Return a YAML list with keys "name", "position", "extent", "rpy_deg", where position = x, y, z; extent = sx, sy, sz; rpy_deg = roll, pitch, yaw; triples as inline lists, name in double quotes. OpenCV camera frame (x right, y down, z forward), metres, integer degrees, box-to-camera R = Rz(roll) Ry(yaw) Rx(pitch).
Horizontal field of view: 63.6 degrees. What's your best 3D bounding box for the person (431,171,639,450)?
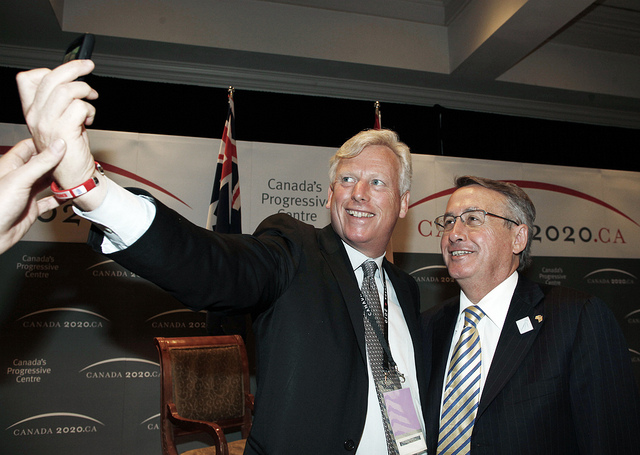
- name: "person"
  position: [1.329, 0.521, 3.340]
  extent: [1.156, 1.777, 0.631]
  rpy_deg: [2, -1, 14]
